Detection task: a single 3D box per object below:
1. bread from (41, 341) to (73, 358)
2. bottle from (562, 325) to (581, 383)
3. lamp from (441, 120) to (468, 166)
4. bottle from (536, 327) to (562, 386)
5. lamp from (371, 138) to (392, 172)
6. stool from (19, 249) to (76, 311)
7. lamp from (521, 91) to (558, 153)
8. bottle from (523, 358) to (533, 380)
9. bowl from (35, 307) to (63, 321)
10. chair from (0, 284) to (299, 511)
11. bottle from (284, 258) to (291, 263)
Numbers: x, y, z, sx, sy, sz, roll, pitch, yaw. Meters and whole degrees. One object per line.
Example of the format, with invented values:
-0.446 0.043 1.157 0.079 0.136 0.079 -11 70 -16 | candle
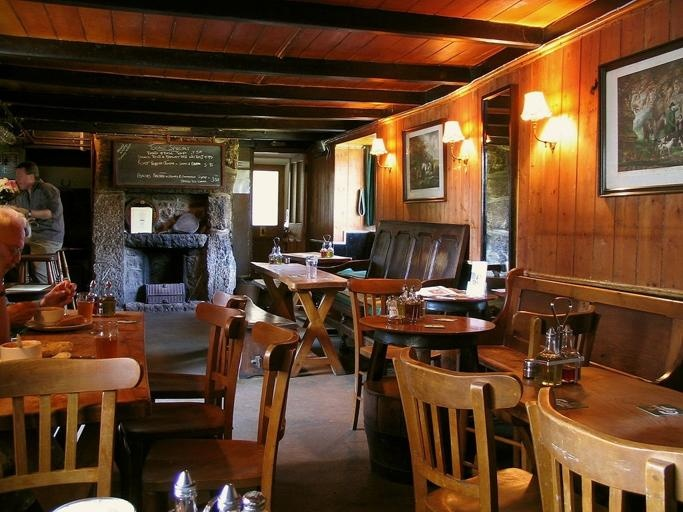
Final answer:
-1.342 0.444 2.582 0.142 0.029 0.116 2 6 -4 | bread
1.108 0.459 2.658 0.094 0.245 0.288 5 7 22 | bottle
1.261 -1.280 6.272 0.278 0.512 0.461 2 6 -4 | lamp
0.986 0.469 2.605 0.120 0.229 0.260 5 7 20 | bottle
0.588 -1.451 8.005 0.408 0.417 0.246 11 3 0 | lamp
-3.518 0.300 6.324 0.789 0.560 0.751 -2 4 -37 | stool
1.693 -1.174 4.807 0.268 0.533 0.315 1 7 -5 | lamp
0.900 0.538 2.637 0.051 0.089 0.103 4 6 18 | bottle
-1.692 0.327 3.190 0.120 0.061 0.106 -1 5 -26 | bowl
-0.965 0.660 2.928 1.141 1.363 1.217 8 -2 -33 | chair
-0.921 0.075 9.388 0.134 0.099 0.116 -1 5 -20 | bottle
